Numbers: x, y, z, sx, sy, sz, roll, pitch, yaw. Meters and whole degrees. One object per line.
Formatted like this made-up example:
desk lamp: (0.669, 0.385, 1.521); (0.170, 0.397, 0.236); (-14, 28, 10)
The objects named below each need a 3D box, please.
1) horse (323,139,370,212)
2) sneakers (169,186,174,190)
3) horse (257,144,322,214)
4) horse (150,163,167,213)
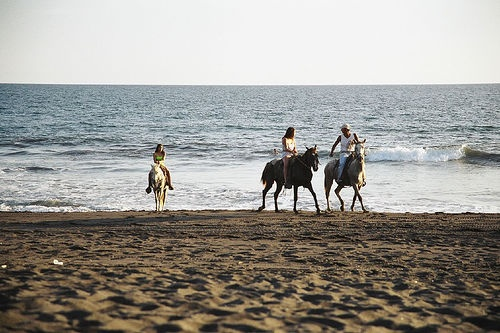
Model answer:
horse: (4.181, 0.578, 24.121); (1.005, 2.925, 4.356); (1, -4, -15)
sneakers: (-3.603, 0.970, 25.882); (0.182, 0.150, 0.250); (4, 1, -13)
horse: (1.707, 0.580, 23.540); (1.037, 2.633, 3.747); (7, -7, -37)
horse: (-4.101, 0.995, 25.056); (0.839, 2.216, 1.593); (-1, 13, -7)
